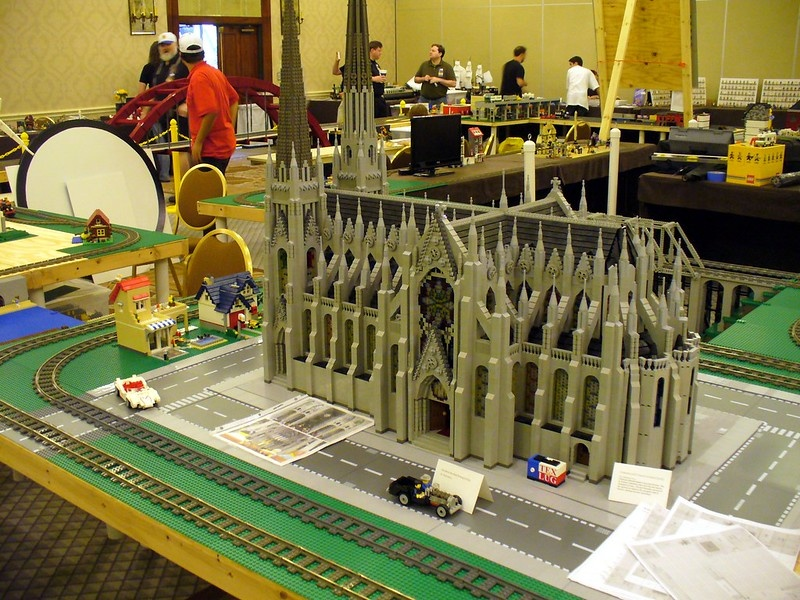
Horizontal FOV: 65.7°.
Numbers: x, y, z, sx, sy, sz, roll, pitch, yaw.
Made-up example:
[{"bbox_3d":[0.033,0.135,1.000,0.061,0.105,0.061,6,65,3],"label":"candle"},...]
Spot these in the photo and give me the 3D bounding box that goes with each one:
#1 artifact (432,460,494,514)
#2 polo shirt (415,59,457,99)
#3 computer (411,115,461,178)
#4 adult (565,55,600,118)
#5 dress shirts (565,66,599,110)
[{"bbox_3d":[0.647,1.734,6.137,0.633,0.399,0.410,23,33,36],"label":"artifact"},{"bbox_3d":[1.357,-8.312,23.402,1.523,1.505,0.915,8,15,11],"label":"polo shirt"},{"bbox_3d":[0.825,-3.545,14.137,1.328,0.951,0.382,-19,28,-37],"label":"computer"},{"bbox_3d":[6.725,-7.409,23.085,1.079,3.265,0.893,5,1,9],"label":"adult"},{"bbox_3d":[6.696,-7.554,23.017,1.063,2.648,0.913,5,9,16],"label":"dress shirts"}]
